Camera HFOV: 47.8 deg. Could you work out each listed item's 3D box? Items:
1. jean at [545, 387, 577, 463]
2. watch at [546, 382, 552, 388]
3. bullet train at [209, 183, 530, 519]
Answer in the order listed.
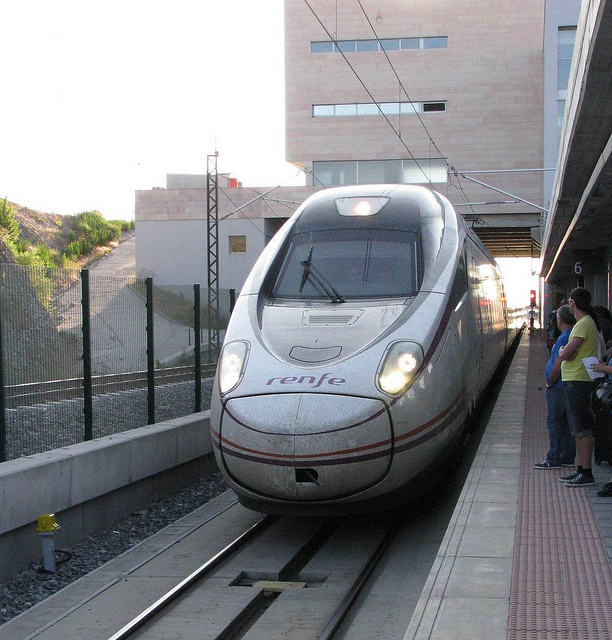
[{"bbox_3d":[2.268,0.928,6.205,0.229,0.680,0.321,-2,-1,30],"label":"jean"},{"bbox_3d":[2.171,0.571,6.192,0.052,0.030,0.072,20,-17,24],"label":"watch"},{"bbox_3d":[0.961,-0.215,8.696,1.374,2.354,7.697,0,9,11],"label":"bullet train"}]
